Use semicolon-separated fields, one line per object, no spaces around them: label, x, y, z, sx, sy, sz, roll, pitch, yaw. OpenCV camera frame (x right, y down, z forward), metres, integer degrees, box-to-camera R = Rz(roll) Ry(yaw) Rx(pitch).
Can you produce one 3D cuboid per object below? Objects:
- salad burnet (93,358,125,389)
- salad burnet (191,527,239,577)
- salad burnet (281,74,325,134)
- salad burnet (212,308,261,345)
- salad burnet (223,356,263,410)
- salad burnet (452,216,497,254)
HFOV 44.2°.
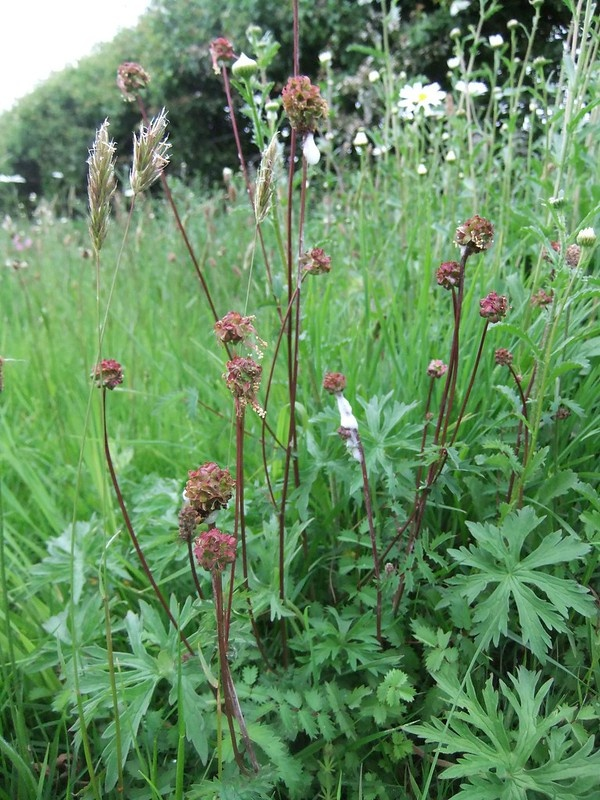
salad burnet;-0.375;-0.062;1.497;0.058;0.059;0.062;-7;66;8
salad burnet;-0.141;0.253;1.232;0.069;0.073;0.063;20;37;40
salad burnet;0.010;-0.597;1.500;0.088;0.114;0.155;-5;28;2
salad burnet;-0.116;-0.134;1.377;0.079;0.064;0.059;-20;50;6
salad burnet;-0.101;-0.027;1.340;0.077;0.116;0.084;-7;1;-6
salad burnet;0.378;-0.356;1.599;0.071;0.104;0.107;3;29;17
